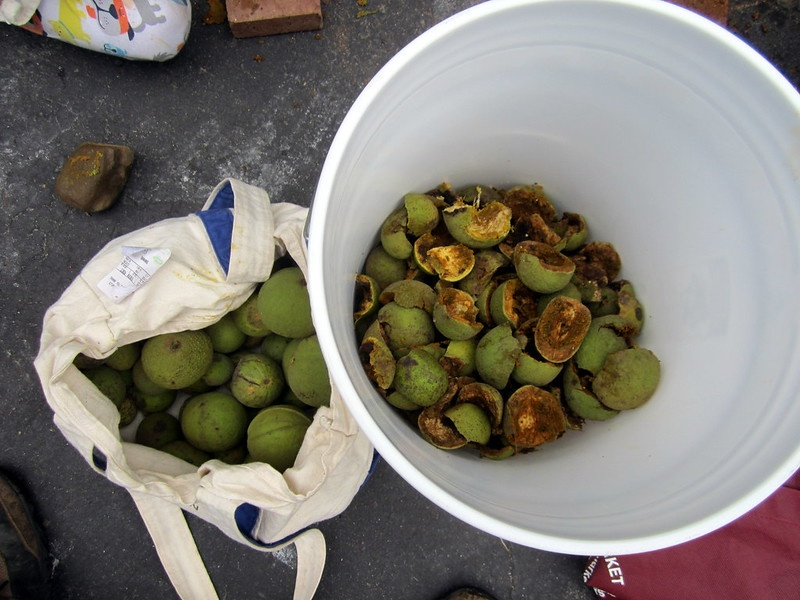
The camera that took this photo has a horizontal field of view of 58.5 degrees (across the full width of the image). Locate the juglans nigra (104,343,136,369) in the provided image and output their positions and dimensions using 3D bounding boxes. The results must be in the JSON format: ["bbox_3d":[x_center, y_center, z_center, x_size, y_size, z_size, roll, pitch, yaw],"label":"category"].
[{"bbox_3d":[-1.207,0.249,3.089,0.096,0.076,0.125,-10,92,-2],"label":"juglans nigra"}]

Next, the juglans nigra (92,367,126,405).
[{"bbox_3d":[-1.244,0.378,3.100,0.110,0.156,0.093,6,39,25],"label":"juglans nigra"}]

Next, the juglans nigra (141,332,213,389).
[{"bbox_3d":[-0.922,0.245,3.081,0.247,0.302,0.255,-5,85,-1],"label":"juglans nigra"}]
